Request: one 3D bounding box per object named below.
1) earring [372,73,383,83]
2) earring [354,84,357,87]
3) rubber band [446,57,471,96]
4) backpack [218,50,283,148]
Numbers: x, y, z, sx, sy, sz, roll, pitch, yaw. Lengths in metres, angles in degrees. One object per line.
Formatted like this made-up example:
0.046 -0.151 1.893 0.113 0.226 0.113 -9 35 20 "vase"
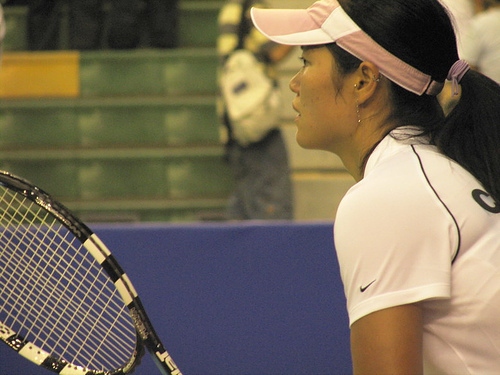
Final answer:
0.809 -0.697 10.228 0.069 0.047 0.039 5 52 -1 "earring"
0.672 -0.648 10.264 0.018 0.014 0.013 0 53 -4 "earring"
1.320 -0.725 10.264 0.106 0.128 0.241 22 56 13 "rubber band"
0.006 -0.738 13.241 0.447 0.363 0.753 -24 91 -4 "backpack"
